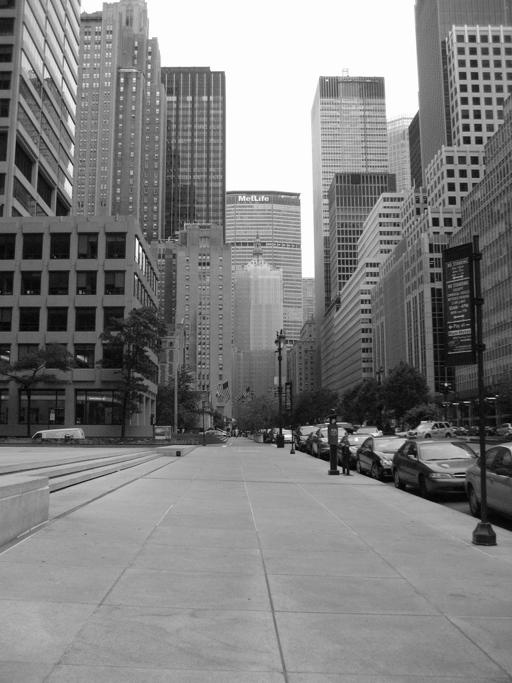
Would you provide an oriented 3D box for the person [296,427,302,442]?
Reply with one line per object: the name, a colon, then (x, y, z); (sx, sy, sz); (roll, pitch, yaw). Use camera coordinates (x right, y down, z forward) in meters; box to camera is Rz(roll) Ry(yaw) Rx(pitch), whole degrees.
person: (2.596, 5.694, 40.903); (0.365, 0.431, 0.759); (1, -24, -3)
